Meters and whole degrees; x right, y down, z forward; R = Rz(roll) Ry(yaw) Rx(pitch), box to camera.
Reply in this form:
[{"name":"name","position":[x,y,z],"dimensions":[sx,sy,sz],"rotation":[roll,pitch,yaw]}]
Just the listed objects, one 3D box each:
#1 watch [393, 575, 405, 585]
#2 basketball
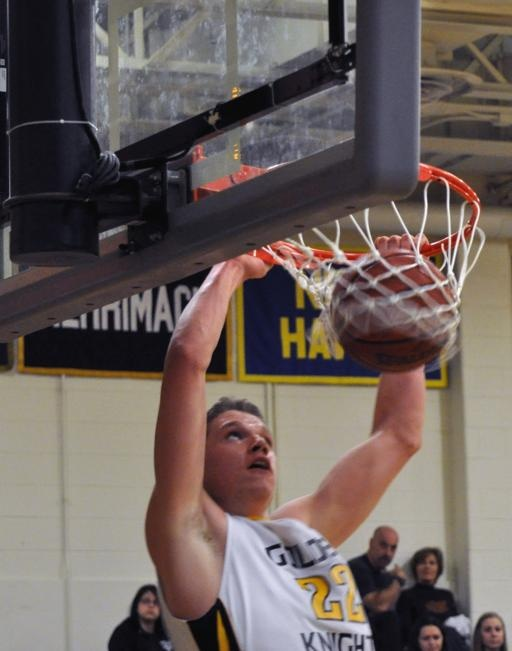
[{"name":"watch","position":[0.544,0.982,5.959],"dimensions":[0.010,0.033,0.035],"rotation":[-37,-7,-8]},{"name":"basketball","position":[0.255,-0.037,2.943],"dimensions":[0.251,0.251,0.228],"rotation":[5,-8,-8]}]
